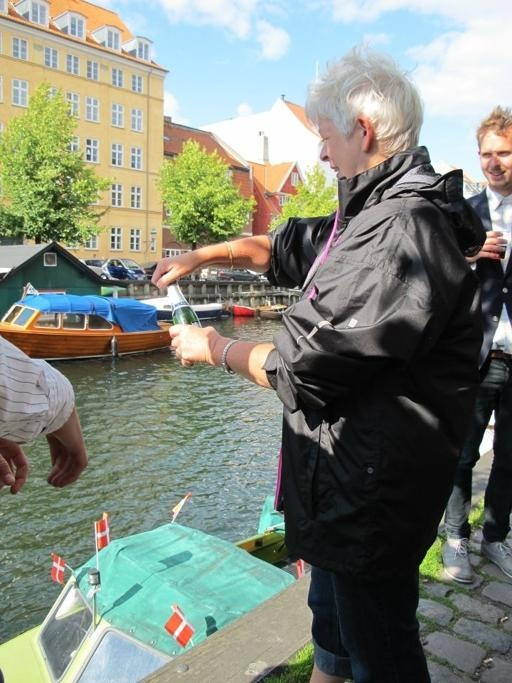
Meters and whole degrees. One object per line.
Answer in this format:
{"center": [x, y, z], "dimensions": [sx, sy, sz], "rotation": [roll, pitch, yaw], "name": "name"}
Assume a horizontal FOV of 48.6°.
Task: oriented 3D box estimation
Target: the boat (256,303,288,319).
{"center": [0.653, -1.988, 37.544], "dimensions": [3.492, 0.930, 1.244], "rotation": [5, 14, 41], "name": "boat"}

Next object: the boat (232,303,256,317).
{"center": [-0.782, -1.987, 36.921], "dimensions": [1.409, 0.479, 0.739], "rotation": [1, 17, -36], "name": "boat"}

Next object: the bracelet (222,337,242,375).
{"center": [-0.069, 0.045, 1.667], "dimensions": [0.037, 0.085, 0.068], "rotation": [-5, 25, -1], "name": "bracelet"}
